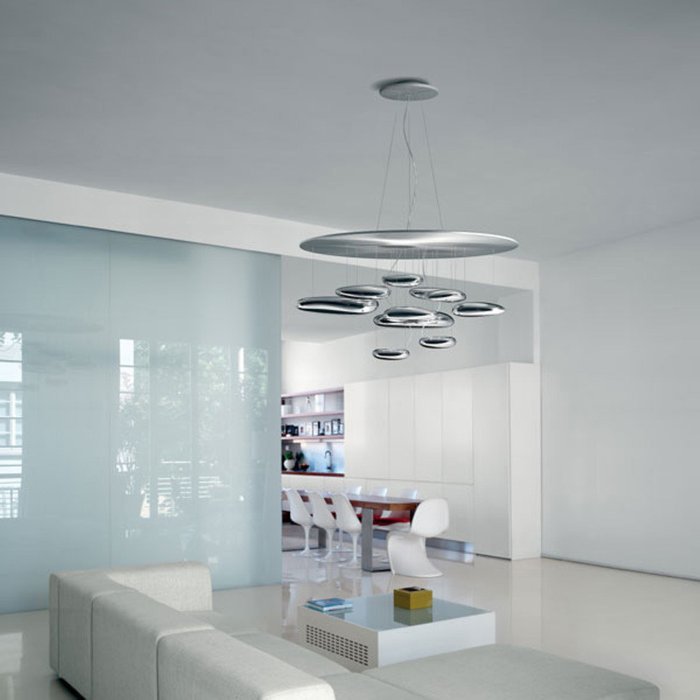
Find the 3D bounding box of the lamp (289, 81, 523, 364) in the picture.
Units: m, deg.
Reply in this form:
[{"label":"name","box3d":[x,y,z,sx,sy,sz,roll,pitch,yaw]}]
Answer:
[{"label":"lamp","box3d":[0.597,-1.194,6.194,1.855,1.952,1.799,4,-8,-33]}]

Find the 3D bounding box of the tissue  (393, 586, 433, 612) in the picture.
[{"label":"tissue ","box3d":[0.395,1.560,4.181,0.162,0.091,0.150,5,-9,-34]}]
